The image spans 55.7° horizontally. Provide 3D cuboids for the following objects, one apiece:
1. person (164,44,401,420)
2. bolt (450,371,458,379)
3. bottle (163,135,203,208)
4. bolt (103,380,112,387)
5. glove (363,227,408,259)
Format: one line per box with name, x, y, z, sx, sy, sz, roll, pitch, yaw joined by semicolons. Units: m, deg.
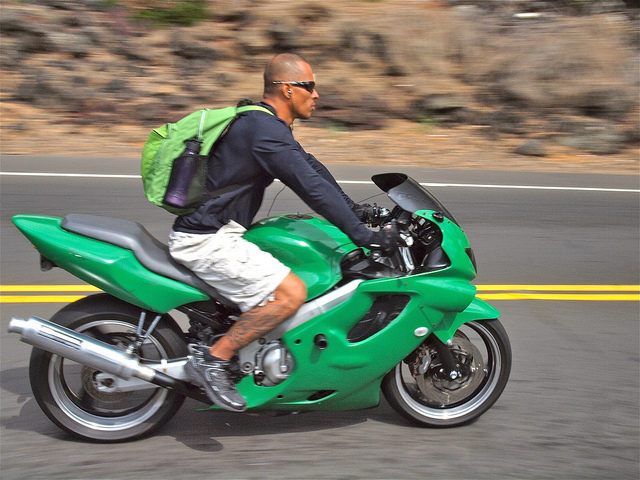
person;-0.445;-0.021;3.998;1.453;2.357;1.086;-15;27;-23
bolt;0.941;0.947;4.252;0.067;0.039;0.054;1;42;9
bottle;-0.861;-0.435;3.809;0.156;0.440;0.305;10;27;26
bolt;-1.427;0.956;4.048;0.076;0.036;0.015;6;3;-6
glove;0.441;0.039;3.937;0.222;0.257;0.233;8;25;26
